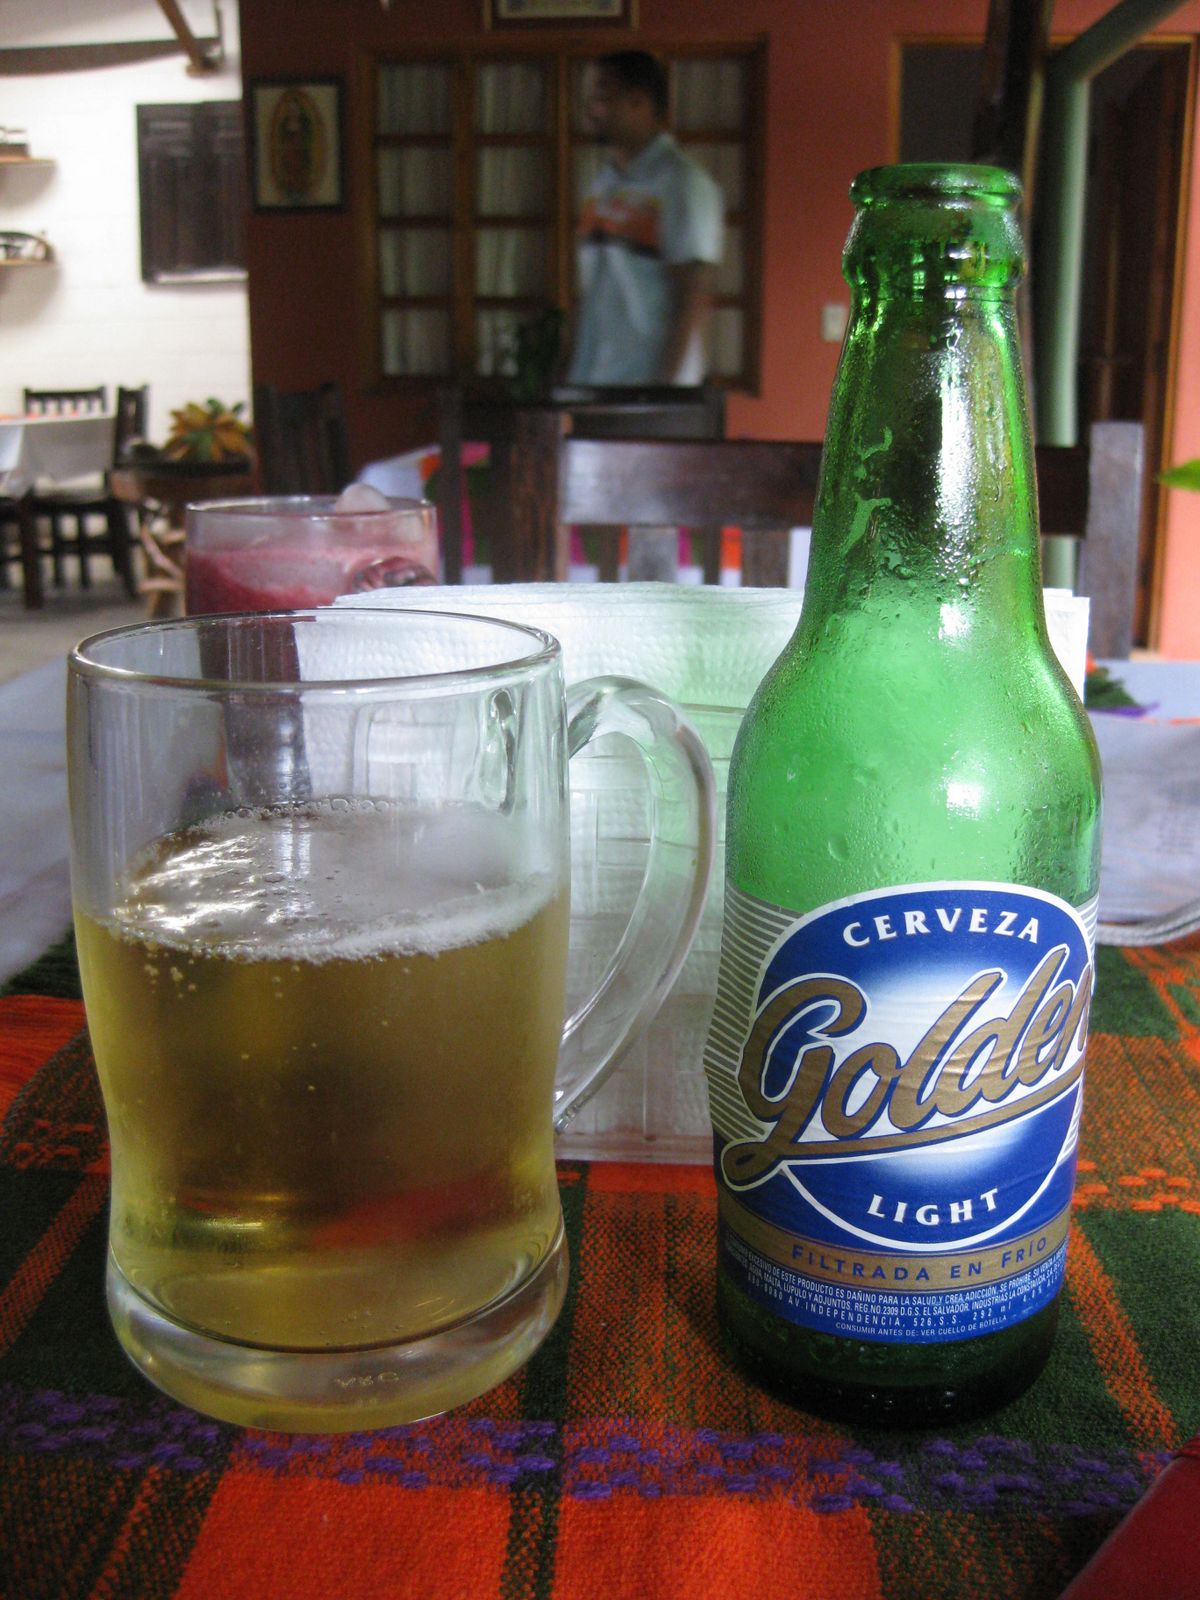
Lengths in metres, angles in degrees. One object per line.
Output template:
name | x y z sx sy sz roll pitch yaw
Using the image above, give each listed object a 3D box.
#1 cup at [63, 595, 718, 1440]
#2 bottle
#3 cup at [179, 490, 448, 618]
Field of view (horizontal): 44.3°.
cup | -0.061 0.046 0.339 0.110 0.170 0.106 0 16 0
bottle | 0.072 -0.003 0.342 0.089 0.269 0.131 5 17 18
cup | -0.121 -0.087 0.575 0.083 0.051 0.078 0 10 0
